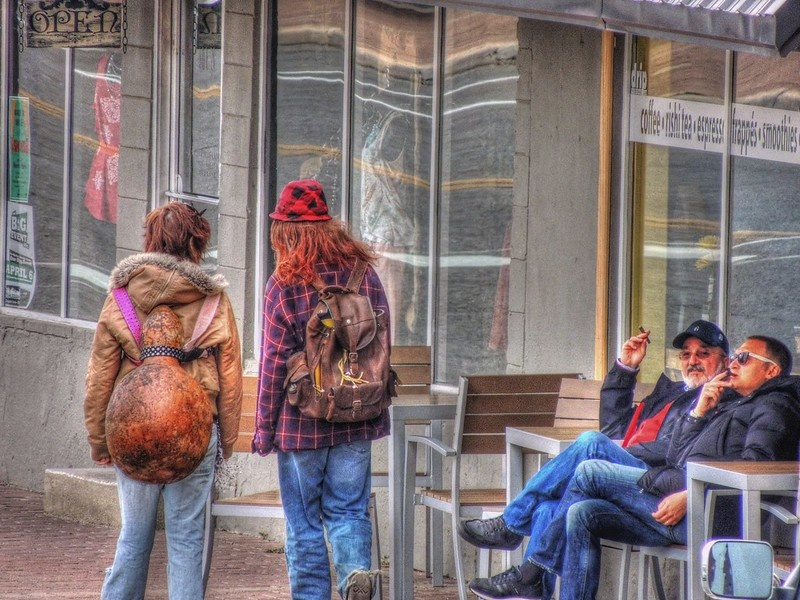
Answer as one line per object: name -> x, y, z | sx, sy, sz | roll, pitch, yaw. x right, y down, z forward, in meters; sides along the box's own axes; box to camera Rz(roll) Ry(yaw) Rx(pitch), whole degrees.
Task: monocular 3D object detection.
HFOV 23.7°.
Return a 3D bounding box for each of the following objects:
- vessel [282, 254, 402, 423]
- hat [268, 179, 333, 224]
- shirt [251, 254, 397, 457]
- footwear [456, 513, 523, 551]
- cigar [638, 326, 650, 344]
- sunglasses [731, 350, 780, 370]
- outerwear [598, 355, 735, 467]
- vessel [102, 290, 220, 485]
vessel -> -0.381, 0.227, 11.772 | 0.755, 0.992, 0.533 | -3, 8, -33
hat -> -0.623, -0.633, 11.982 | 0.483, 0.264, 0.524 | -1, 5, 8
shirt -> -0.475, 0.325, 11.871 | 0.917, 1.122, 0.600 | -6, 14, -20
footwear -> 0.557, 1.484, 12.074 | 0.476, 0.168, 0.199 | 8, -38, -7
cigar -> 1.596, 0.222, 12.563 | 0.038, 0.122, 0.037 | -28, 19, 30
sunglasses -> 2.203, 0.358, 11.986 | 0.182, 0.053, 0.137 | 10, -12, 3
outerwear -> 1.666, 0.715, 12.512 | 0.682, 0.638, 0.331 | 26, -3, 25
vessel -> -1.469, 0.486, 11.695 | 0.702, 1.173, 0.652 | -9, -13, 44
